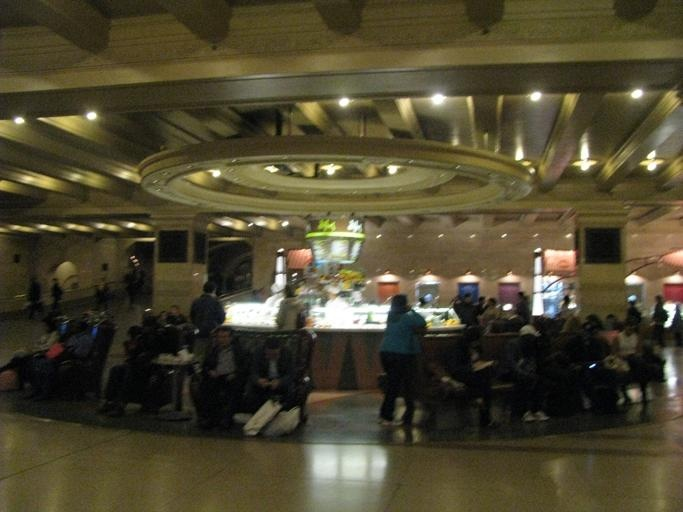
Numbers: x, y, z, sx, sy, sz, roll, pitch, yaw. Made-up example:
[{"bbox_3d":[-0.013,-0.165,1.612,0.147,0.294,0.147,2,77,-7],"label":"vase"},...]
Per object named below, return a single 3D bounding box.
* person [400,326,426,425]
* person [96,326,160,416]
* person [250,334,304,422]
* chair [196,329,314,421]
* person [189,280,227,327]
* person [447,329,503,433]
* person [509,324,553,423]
[{"bbox_3d":[1.031,1.734,7.978,0.225,1.235,0.487,2,2,42],"label":"person"},{"bbox_3d":[-3.326,1.684,8.539,0.800,1.218,0.781,0,1,-29],"label":"person"},{"bbox_3d":[-0.855,1.718,7.782,0.702,1.189,0.369,-1,2,-35],"label":"person"},{"bbox_3d":[-1.299,1.653,8.101,1.794,1.030,0.884,-2,5,24],"label":"chair"},{"bbox_3d":[-2.572,0.920,10.678,0.627,0.898,0.603,0,1,-11],"label":"person"},{"bbox_3d":[1.965,1.728,8.246,0.601,1.283,1.187,1,1,15],"label":"person"},{"bbox_3d":[2.875,1.751,8.263,0.650,1.224,0.420,-1,2,-40],"label":"person"}]
